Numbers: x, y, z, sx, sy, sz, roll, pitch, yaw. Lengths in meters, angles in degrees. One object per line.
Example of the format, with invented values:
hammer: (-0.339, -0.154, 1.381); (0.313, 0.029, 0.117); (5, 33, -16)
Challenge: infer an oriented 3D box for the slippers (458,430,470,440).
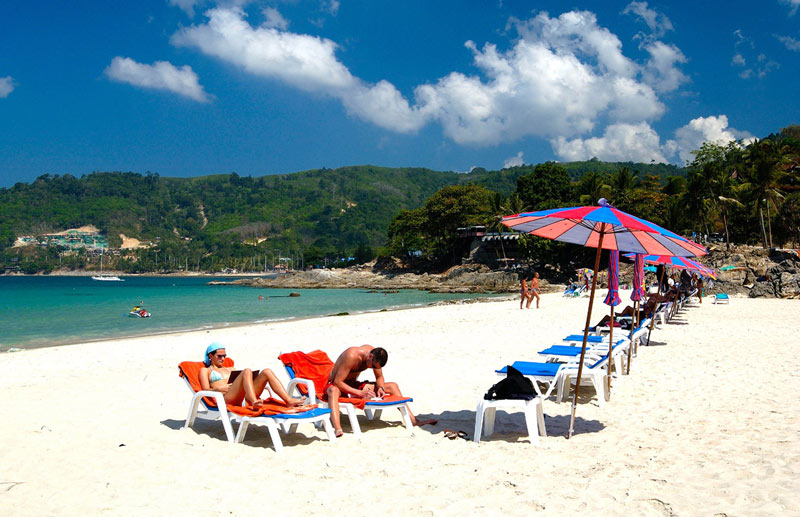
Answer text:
slippers: (1.195, 3.271, 12.499); (0.231, 0.051, 0.262); (0, 14, 3)

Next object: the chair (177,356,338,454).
chair: (-2.667, 2.630, 12.578); (2.725, 1.375, 1.443); (-2, -4, 30)

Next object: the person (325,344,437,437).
person: (-0.741, 2.434, 12.845); (1.322, 1.465, 0.679); (-6, 15, -19)

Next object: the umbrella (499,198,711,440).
umbrella: (3.814, 0.950, 13.210); (3.495, 4.217, 1.652); (-6, 15, -19)

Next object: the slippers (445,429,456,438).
slippers: (0.937, 3.258, 12.581); (0.212, 0.052, 0.361); (-1, 14, -3)

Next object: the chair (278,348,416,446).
chair: (-1.035, 2.496, 13.048); (2.421, 1.300, 1.478); (1, 1, 39)
